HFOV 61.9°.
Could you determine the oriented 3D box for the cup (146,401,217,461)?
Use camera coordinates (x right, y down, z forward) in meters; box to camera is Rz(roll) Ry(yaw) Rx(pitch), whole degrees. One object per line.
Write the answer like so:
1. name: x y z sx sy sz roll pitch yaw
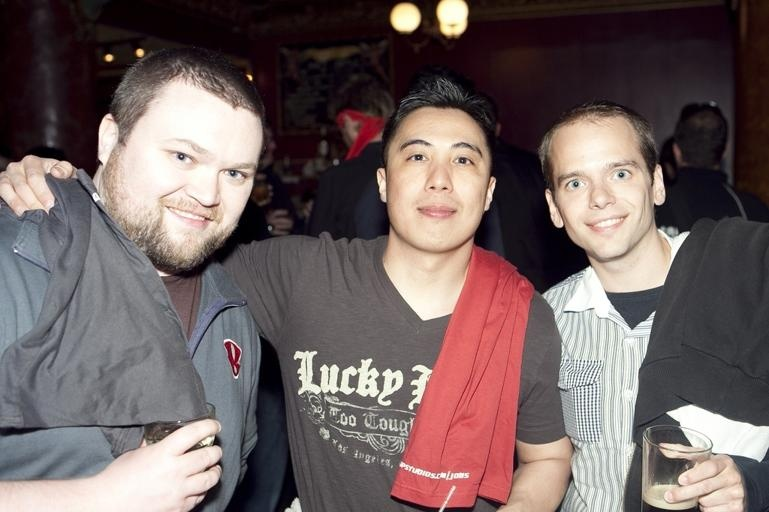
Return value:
1. cup: -0.695 0.589 2.193 0.238 0.131 0.184 0 2 -22
